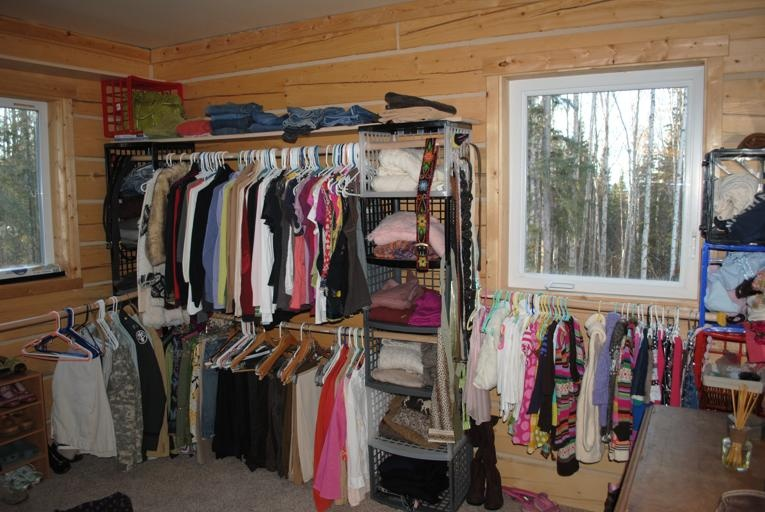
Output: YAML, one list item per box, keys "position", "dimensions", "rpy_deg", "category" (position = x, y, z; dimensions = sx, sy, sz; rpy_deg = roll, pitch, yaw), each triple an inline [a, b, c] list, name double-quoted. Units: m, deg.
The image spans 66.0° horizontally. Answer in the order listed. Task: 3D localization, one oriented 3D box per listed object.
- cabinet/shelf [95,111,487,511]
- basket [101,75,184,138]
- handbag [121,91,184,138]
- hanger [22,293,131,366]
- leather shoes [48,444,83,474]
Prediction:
- position: [-0.595, 0.493, 4.328]
  dimensions: [2.854, 2.954, 1.092]
  rpy_deg: [5, 11, 22]
  category: "cabinet/shelf"
- position: [-2.071, -1.262, 5.035]
  dimensions: [0.573, 0.696, 0.411]
  rpy_deg: [0, -17, -8]
  category: "basket"
- position: [-1.906, -1.240, 5.051]
  dimensions: [0.457, 0.422, 0.134]
  rpy_deg: [1, -16, 3]
  category: "handbag"
- position: [-2.242, 0.493, 4.396]
  dimensions: [0.502, 0.239, 0.813]
  rpy_deg: [2, 2, 4]
  category: "hanger"
- position: [-2.454, 1.590, 4.609]
  dimensions: [0.331, 0.130, 0.117]
  rpy_deg: [3, 10, 26]
  category: "leather shoes"
